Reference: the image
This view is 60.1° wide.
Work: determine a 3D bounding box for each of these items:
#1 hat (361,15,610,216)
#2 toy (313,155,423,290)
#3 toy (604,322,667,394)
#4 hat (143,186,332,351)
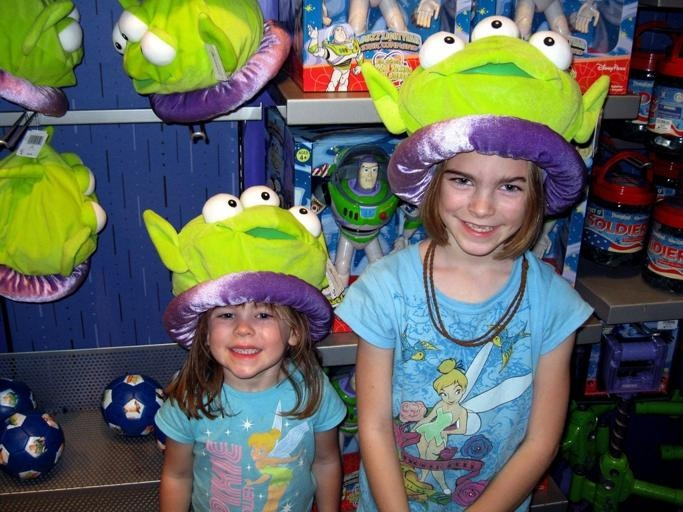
[{"bbox_3d":[0.305,-0.301,1.212,0.479,0.346,0.381,0,36,4],"label":"hat"},{"bbox_3d":[0.061,-0.084,1.637,0.318,0.482,0.235,2,30,-1],"label":"toy"},{"bbox_3d":[0.937,0.321,1.975,0.194,0.236,0.219,2,17,8],"label":"toy"},{"bbox_3d":[-0.235,0.046,1.414,0.392,0.423,0.400,-5,16,-21],"label":"hat"}]
